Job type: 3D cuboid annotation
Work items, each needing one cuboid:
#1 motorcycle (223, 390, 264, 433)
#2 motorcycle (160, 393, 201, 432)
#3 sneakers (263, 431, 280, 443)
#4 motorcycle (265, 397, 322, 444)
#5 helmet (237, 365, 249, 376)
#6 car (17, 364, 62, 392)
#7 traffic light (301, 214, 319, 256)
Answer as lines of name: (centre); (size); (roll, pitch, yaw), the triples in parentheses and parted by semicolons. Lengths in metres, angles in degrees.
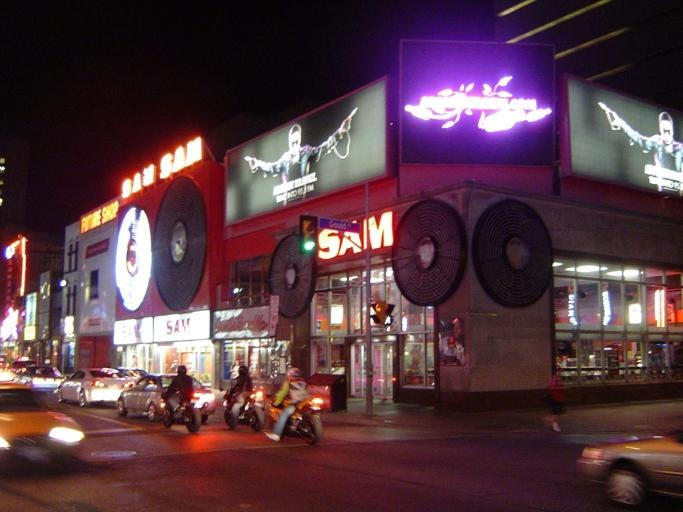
motorcycle: (-3.018, 4.910, 20.050); (1.348, 1.235, 0.418); (-6, -12, 24)
motorcycle: (-4.945, 4.955, 19.858); (0.456, 1.072, 1.745); (9, -15, -41)
sneakers: (-1.877, 4.960, 17.424); (0.567, 0.262, 0.209); (16, -5, 41)
motorcycle: (-1.303, 4.518, 17.706); (2.131, 1.293, 0.775); (-8, -13, 43)
helmet: (-3.182, 3.733, 20.698); (0.235, 0.275, 0.332); (2, -8, -8)
car: (-17.554, 7.130, 37.091); (2.619, 1.610, 2.146); (-6, -13, 22)
traffic light: (-1.278, -0.834, 25.347); (0.700, 0.174, 1.676); (-3, -55, -6)
